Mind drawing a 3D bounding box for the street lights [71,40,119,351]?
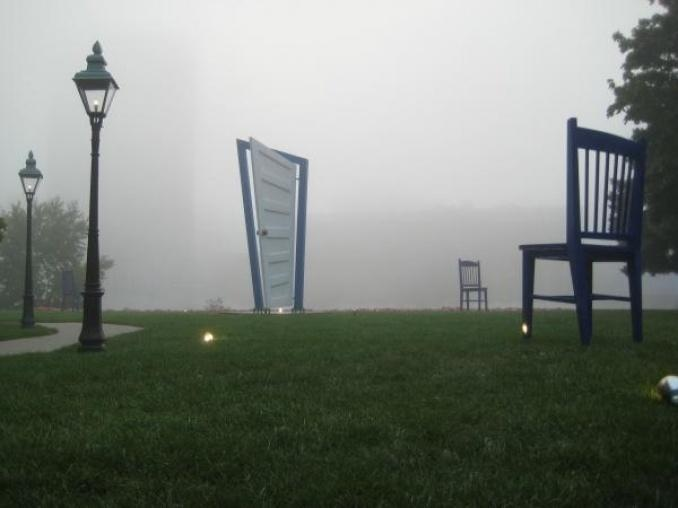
[{"bbox_3d":[-2.489,-0.673,5.950,0.405,3.208,0.548,-1,-3,-13],"label":"street lights"}]

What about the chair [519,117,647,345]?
[{"bbox_3d":[2.451,-0.176,5.723,1.015,1.955,1.759,-3,-3,29],"label":"chair"}]
